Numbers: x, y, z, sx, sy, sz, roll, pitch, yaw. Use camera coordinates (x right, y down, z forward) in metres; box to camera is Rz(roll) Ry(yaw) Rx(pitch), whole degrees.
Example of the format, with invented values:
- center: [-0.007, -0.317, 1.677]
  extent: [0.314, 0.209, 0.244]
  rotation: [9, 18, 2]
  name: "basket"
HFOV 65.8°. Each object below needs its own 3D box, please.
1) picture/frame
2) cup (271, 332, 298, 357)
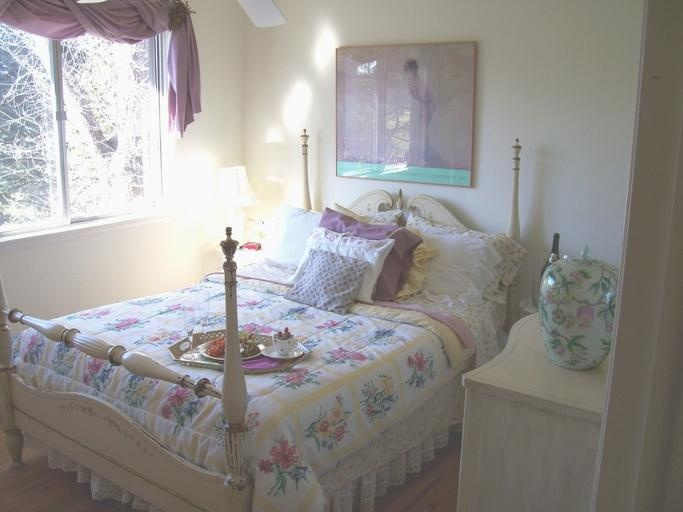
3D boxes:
- center: [0.511, -1.095, 3.968]
  extent: [1.074, 0.981, 0.040]
  rotation: [9, 16, 36]
  name: "picture/frame"
- center: [-0.278, 0.417, 2.548]
  extent: [0.093, 0.093, 0.110]
  rotation: [5, 14, 11]
  name: "cup"
